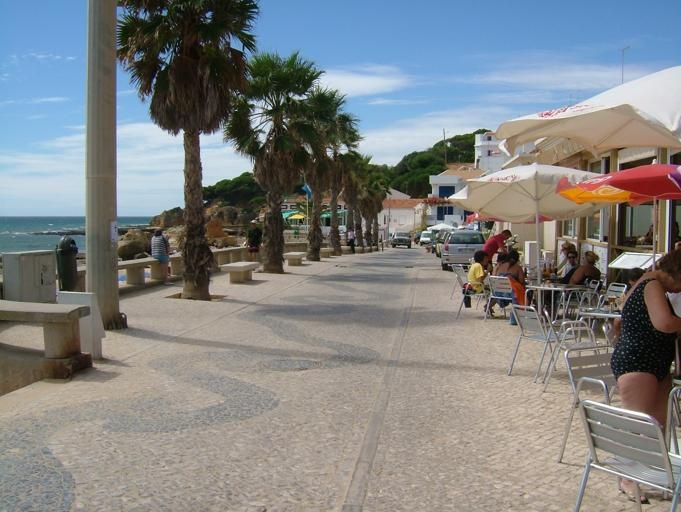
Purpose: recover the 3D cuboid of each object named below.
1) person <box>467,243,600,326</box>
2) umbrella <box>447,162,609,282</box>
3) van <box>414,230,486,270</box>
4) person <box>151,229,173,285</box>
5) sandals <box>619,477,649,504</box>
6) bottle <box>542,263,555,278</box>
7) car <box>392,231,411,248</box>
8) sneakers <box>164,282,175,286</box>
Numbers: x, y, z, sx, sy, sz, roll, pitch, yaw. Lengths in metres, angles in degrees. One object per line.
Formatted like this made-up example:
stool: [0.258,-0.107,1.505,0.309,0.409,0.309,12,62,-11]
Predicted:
person: [4.112,0.415,10.740,2.171,0.945,1.503,4,12,33]
umbrella: [3.935,-0.951,11.514,2.564,1.835,2.707,-3,5,-1]
van: [5.267,-0.206,24.776,1.930,1.584,4.005,0,9,3]
person: [-5.255,0.024,16.178,0.462,1.571,1.084,-3,3,-19]
sandals: [2.295,1.814,4.334,0.210,0.118,0.285,-1,3,25]
bottle: [4.696,0.332,12.564,0.236,0.358,0.361,6,14,32]
car: [7.066,-1.853,63.956,2.047,1.680,3.271,-2,3,3]
sneakers: [-5.076,0.831,16.508,0.245,0.107,0.089,3,14,-5]
